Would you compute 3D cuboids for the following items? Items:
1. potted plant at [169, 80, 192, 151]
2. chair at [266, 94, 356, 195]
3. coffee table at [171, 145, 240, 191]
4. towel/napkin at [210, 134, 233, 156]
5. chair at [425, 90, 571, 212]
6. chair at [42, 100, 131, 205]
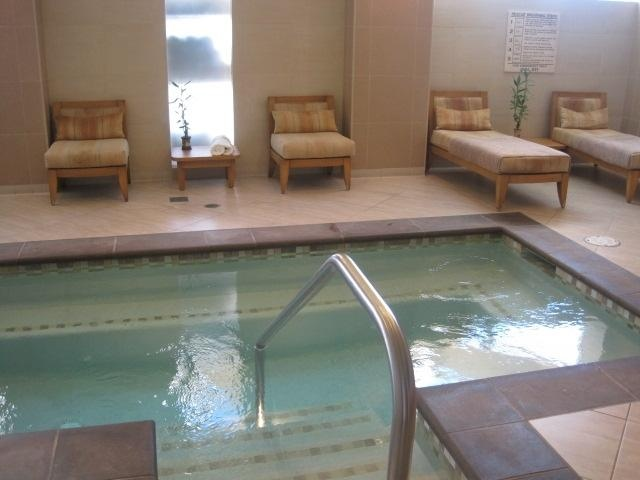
[{"bbox_3d":[-1.718,-1.587,6.176,0.285,0.798,0.413,-8,18,-13],"label":"potted plant"},{"bbox_3d":[-0.147,-1.252,6.257,0.959,1.034,1.021,-4,21,-11],"label":"chair"},{"bbox_3d":[-1.452,-0.915,6.276,0.955,0.453,0.966,-6,18,-22],"label":"coffee table"},{"bbox_3d":[-1.188,-1.148,5.976,0.286,0.200,0.341,-8,18,-11],"label":"towel/napkin"},{"bbox_3d":[2.170,-1.252,6.232,0.964,1.145,1.970,-4,20,-14],"label":"chair"},{"bbox_3d":[-2.829,-1.094,6.037,1.012,1.119,1.108,-3,5,-14],"label":"chair"}]
